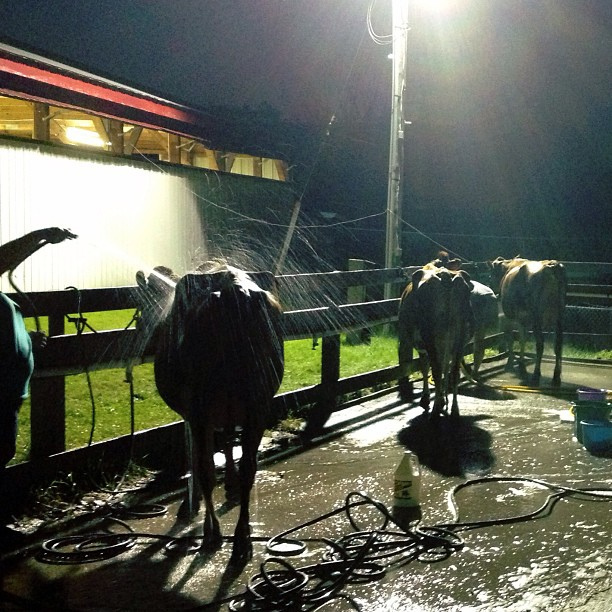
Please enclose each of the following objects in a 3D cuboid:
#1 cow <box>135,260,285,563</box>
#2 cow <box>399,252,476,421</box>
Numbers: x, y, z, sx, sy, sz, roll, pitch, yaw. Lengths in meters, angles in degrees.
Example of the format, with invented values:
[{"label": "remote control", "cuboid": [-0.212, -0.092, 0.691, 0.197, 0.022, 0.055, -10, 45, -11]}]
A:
[{"label": "cow", "cuboid": [-0.609, 0.534, 4.574, 1.029, 1.622, 2.153, -4, 6, -15]}, {"label": "cow", "cuboid": [1.451, 0.358, 7.490, 0.858, 1.564, 1.636, -1, 5, 14]}]
